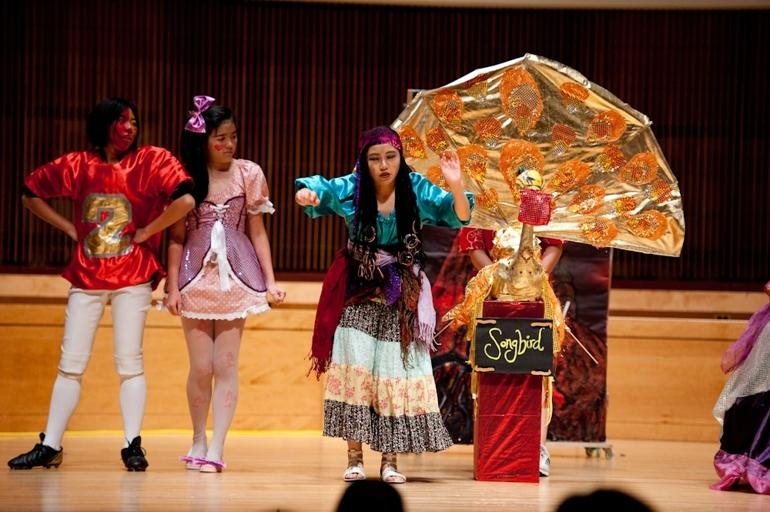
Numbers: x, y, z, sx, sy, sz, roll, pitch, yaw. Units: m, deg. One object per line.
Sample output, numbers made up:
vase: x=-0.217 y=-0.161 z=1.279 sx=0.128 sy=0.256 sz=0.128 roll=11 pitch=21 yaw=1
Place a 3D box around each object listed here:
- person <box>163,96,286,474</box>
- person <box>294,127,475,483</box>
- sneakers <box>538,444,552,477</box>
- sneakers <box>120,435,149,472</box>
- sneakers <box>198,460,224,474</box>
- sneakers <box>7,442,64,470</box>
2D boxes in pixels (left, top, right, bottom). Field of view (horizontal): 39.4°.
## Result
person: x=-1.060 y=0.184 z=6.958 sx=0.706 sy=2.441 sz=0.337 roll=5 pitch=0 yaw=-13
person: x=-0.030 y=0.299 z=6.762 sx=0.965 sy=2.220 sz=0.225 roll=5 pitch=0 yaw=0
sneakers: x=1.047 y=1.341 z=7.045 sx=0.076 sy=0.202 sz=0.389 roll=5 pitch=0 yaw=9
sneakers: x=-1.598 y=1.259 z=6.874 sx=0.168 sy=0.220 sz=0.190 roll=5 pitch=0 yaw=-19
sneakers: x=-1.106 y=1.336 z=6.858 sx=0.154 sy=0.088 sz=0.096 roll=5 pitch=0 yaw=-10
sneakers: x=-2.216 y=1.297 z=6.929 sx=0.376 sy=0.187 sz=0.135 roll=3 pitch=-2 yaw=-7
